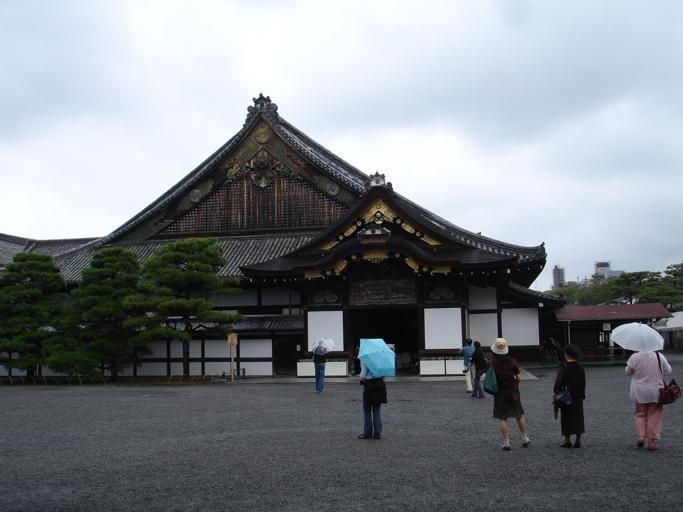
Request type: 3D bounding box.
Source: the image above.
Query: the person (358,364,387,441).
[{"bbox_3d":[0.594,2.803,12.867,0.495,1.452,0.649,-1,-10,1],"label":"person"}]

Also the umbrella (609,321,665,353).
[{"bbox_3d":[5.383,1.455,11.920,0.838,0.541,0.632,-3,-10,17],"label":"umbrella"}]

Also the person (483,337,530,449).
[{"bbox_3d":[2.947,2.453,11.796,0.657,1.936,0.527,-4,-11,21],"label":"person"}]

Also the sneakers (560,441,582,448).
[{"bbox_3d":[4.086,3.342,11.673,0.352,0.150,0.137,4,-8,7],"label":"sneakers"}]

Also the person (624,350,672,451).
[{"bbox_3d":[5.427,2.513,11.575,0.657,1.688,0.457,-4,-11,22],"label":"person"}]

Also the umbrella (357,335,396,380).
[{"bbox_3d":[0.688,2.051,13.112,0.742,0.735,0.689,-2,-25,-19],"label":"umbrella"}]

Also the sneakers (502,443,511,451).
[{"bbox_3d":[2.904,3.339,11.542,0.093,0.111,0.168,1,2,-22],"label":"sneakers"}]

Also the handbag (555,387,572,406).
[{"bbox_3d":[3.914,2.460,11.543,0.139,0.280,0.302,4,-11,-35],"label":"handbag"}]

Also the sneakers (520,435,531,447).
[{"bbox_3d":[3.308,3.310,11.784,0.157,0.173,0.450,-4,-23,6],"label":"sneakers"}]

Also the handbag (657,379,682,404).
[{"bbox_3d":[5.742,2.363,11.512,0.307,0.405,0.404,-6,-11,28],"label":"handbag"}]

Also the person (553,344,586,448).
[{"bbox_3d":[4.090,2.488,11.798,0.546,1.803,0.859,-4,-11,18],"label":"person"}]

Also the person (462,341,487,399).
[{"bbox_3d":[3.779,3.220,19.034,0.828,1.773,0.628,-3,5,17],"label":"person"}]

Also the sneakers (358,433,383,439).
[{"bbox_3d":[0.548,3.454,12.634,0.449,0.179,0.147,-5,-4,13],"label":"sneakers"}]
